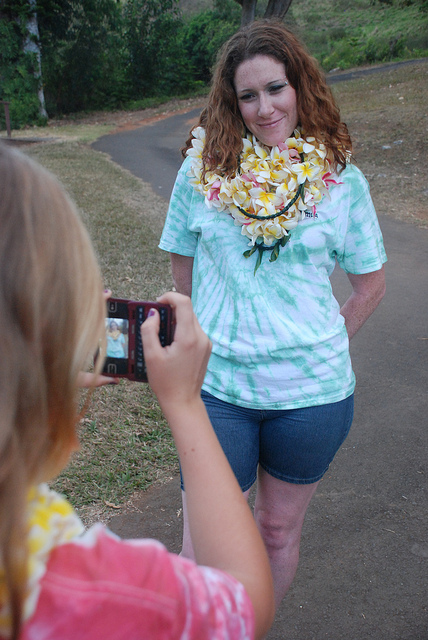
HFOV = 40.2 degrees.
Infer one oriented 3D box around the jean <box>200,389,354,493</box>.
[{"bbox_3d":[0.183,0.348,2.012,0.537,0.422,0.326,6,-7,14],"label":"jean"}]
